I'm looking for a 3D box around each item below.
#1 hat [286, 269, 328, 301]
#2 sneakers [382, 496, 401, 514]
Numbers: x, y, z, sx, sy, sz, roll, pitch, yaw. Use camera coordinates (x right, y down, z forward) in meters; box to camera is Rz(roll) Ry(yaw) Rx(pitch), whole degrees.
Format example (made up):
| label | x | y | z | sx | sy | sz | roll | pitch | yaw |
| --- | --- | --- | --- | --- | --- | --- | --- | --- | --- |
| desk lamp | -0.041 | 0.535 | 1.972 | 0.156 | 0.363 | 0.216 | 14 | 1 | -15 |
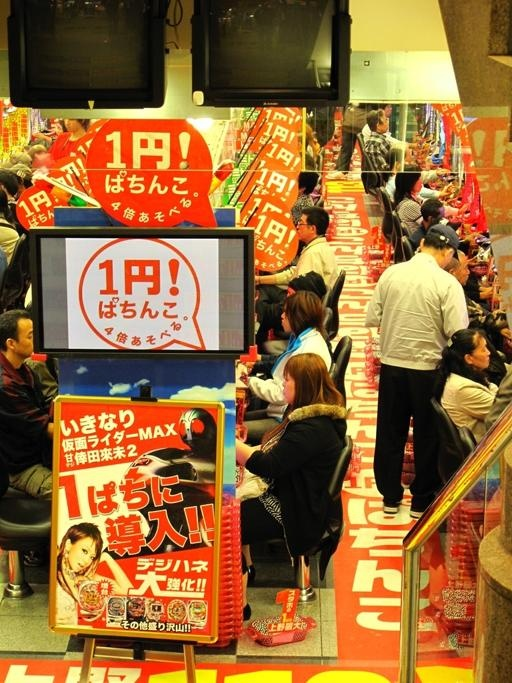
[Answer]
| label | x | y | z | sx | sy | sz | roll | pitch | yaw |
| --- | --- | --- | --- | --- | --- | --- | --- | --- | --- |
| hat | 0.400 | -0.425 | 4.382 | 0.263 | 0.226 | 0.199 | 22 | 7 | 13 |
| sneakers | 0.912 | 1.091 | 4.006 | 0.066 | 0.068 | 0.176 | 2 | 14 | 7 |
